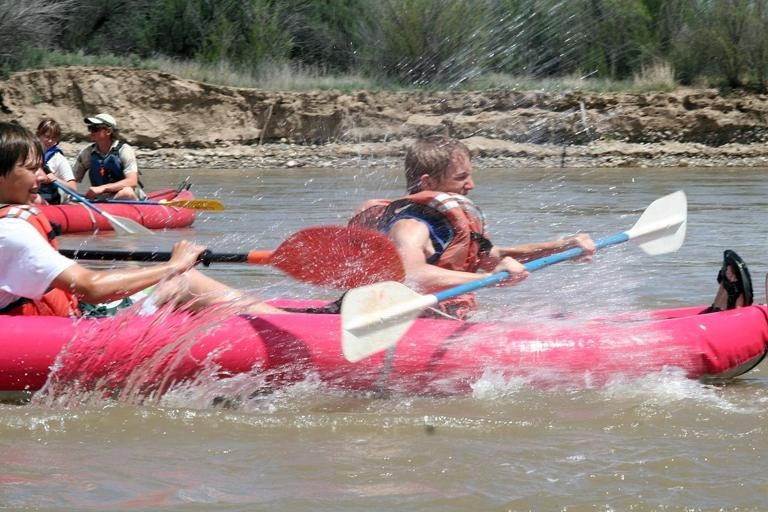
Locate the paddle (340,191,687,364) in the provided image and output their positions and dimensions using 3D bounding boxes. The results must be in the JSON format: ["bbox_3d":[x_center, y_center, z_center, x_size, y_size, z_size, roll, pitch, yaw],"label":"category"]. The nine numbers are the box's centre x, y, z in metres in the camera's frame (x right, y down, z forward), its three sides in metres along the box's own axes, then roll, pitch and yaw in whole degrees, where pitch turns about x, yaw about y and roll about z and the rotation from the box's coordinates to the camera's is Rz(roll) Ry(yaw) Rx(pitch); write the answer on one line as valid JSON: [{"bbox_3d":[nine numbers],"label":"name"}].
[{"bbox_3d":[0.932,0.184,7.009,2.953,0.487,0.531,-10,-23,-16],"label":"paddle"}]
